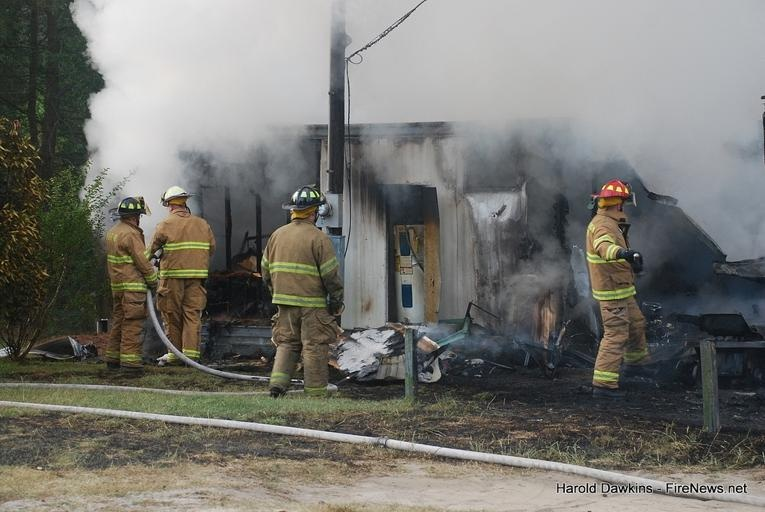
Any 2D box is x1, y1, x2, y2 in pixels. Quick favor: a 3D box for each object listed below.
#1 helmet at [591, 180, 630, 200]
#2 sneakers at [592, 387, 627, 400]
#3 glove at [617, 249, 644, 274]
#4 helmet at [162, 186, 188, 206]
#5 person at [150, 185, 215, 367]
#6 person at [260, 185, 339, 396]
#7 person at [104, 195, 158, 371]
[{"bbox_3d":[2.952,-0.817,11.716,0.342,0.193,0.262,2,1,3],"label":"helmet"},{"bbox_3d":[2.795,1.713,11.340,0.359,0.177,0.142,-2,0,11],"label":"sneakers"},{"bbox_3d":[3.047,0.037,11.251,0.326,0.180,0.469,4,1,16],"label":"glove"},{"bbox_3d":[-3.067,-0.851,13.334,0.275,0.214,0.374,-16,-2,-36],"label":"helmet"},{"bbox_3d":[-2.872,0.259,13.128,0.869,2.488,0.428,-1,0,-13],"label":"person"},{"bbox_3d":[-0.955,0.442,11.331,0.908,2.565,0.305,-1,0,-4],"label":"person"},{"bbox_3d":[-3.589,0.389,13.033,0.727,2.433,0.502,-1,0,35],"label":"person"}]
